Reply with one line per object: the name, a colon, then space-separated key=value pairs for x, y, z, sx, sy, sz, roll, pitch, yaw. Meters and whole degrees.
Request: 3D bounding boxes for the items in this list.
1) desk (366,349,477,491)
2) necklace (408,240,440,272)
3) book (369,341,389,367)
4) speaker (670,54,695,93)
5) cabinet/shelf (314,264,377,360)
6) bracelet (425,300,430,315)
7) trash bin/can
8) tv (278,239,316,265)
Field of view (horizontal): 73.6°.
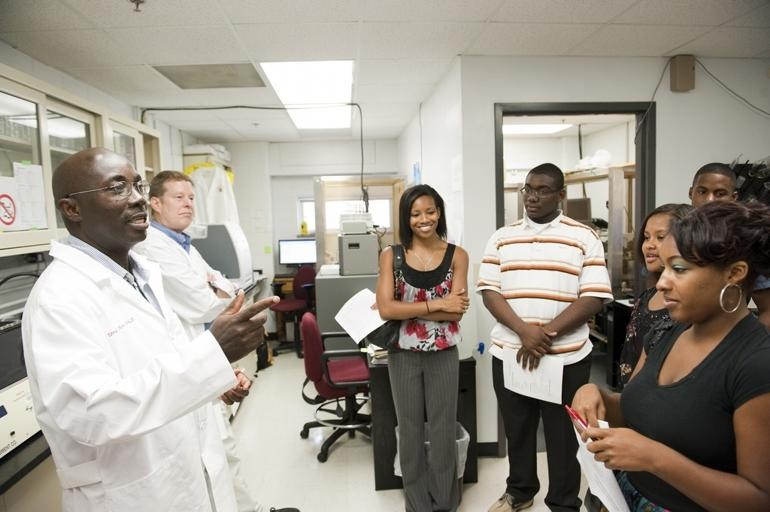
desk: x=0.201 y=1.047 z=3.772 sx=1.011 sy=1.211 sz=0.775 roll=-1 pitch=-4 yaw=-2
necklace: x=0.238 y=0.006 z=3.038 sx=0.180 sy=0.180 sz=0.074 roll=-2 pitch=-12 yaw=-1
book: x=-0.052 y=0.679 z=3.571 sx=0.156 sy=0.057 sz=0.158 roll=2 pitch=7 yaw=-7
speaker: x=2.213 y=-1.360 z=3.831 sx=0.219 sy=0.271 sz=0.071 roll=-2 pitch=8 yaw=-13
cabinet/shelf: x=-0.403 y=0.469 z=4.795 sx=0.590 sy=0.871 sz=0.906 roll=0 pitch=-6 yaw=4
bracelet: x=0.242 y=0.293 z=2.912 sx=0.035 sy=0.070 sz=0.023 roll=3 pitch=8 yaw=29
trash bin/can: x=0.297 y=1.225 z=3.177 sx=0.396 sy=0.394 sz=0.505 roll=0 pitch=-4 yaw=-6
tv: x=-1.143 y=-0.063 z=6.703 sx=0.460 sy=0.328 sz=0.160 roll=0 pitch=7 yaw=2
